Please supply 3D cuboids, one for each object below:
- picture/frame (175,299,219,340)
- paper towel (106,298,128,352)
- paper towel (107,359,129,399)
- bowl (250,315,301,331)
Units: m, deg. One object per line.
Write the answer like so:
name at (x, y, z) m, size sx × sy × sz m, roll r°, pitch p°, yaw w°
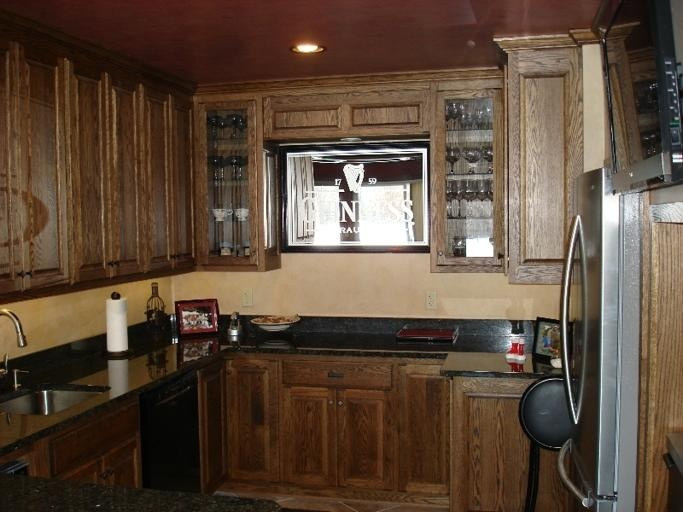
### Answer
picture/frame at (-1.096, 0.482, 4.429) m, size 0.231 × 0.238 × 0.028 m, roll 14°, pitch -15°, yaw -19°
paper towel at (-1.448, 0.440, 3.759) m, size 0.130 × 0.361 × 0.108 m, roll -2°, pitch 4°, yaw -11°
paper towel at (-1.256, 0.676, 3.310) m, size 0.113 × 0.018 × 0.777 m, roll -2°, pitch 5°, yaw -21°
bowl at (-0.497, 0.519, 4.478) m, size 0.318 × 0.118 × 0.232 m, roll 1°, pitch 5°, yaw 17°
